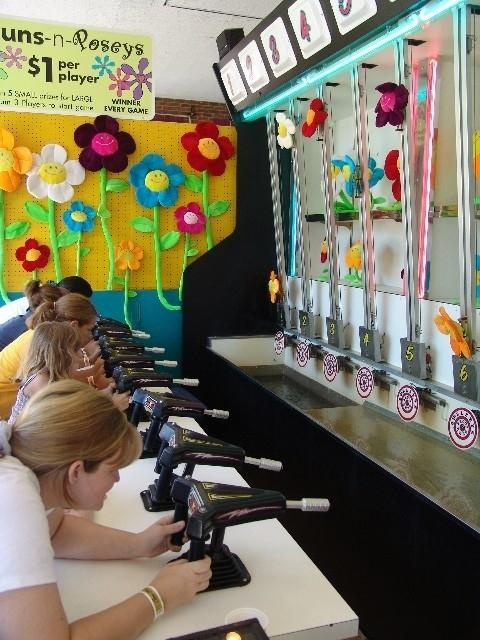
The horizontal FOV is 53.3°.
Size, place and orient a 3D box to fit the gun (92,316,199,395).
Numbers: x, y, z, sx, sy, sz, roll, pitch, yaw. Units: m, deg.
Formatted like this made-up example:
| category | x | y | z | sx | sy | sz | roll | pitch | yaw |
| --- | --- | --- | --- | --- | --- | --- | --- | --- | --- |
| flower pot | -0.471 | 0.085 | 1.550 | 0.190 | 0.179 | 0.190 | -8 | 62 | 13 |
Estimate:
| category | x | y | z | sx | sy | sz | roll | pitch | yaw |
| --- | --- | --- | --- | --- | --- | --- | --- | --- | --- |
| gun | -0.503 | 0.290 | 2.607 | 0.595 | 0.218 | 0.588 | 14 | 26 | -31 |

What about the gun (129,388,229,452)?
| category | x | y | z | sx | sy | sz | roll | pitch | yaw |
| --- | --- | --- | --- | --- | --- | --- | --- | --- | --- |
| gun | -0.207 | 0.314 | 1.674 | 0.325 | 0.202 | 0.294 | 3 | -2 | -16 |

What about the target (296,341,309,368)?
| category | x | y | z | sx | sy | sz | roll | pitch | yaw |
| --- | --- | --- | --- | --- | --- | --- | --- | --- | --- |
| target | 0.446 | 0.247 | 3.344 | 0.033 | 0.192 | 0.194 | -2 | 4 | -16 |

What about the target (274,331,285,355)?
| category | x | y | z | sx | sy | sz | roll | pitch | yaw |
| --- | --- | --- | --- | --- | --- | --- | --- | --- | --- |
| target | 0.318 | 0.197 | 3.790 | 0.033 | 0.226 | 0.196 | -2 | 8 | -18 |
